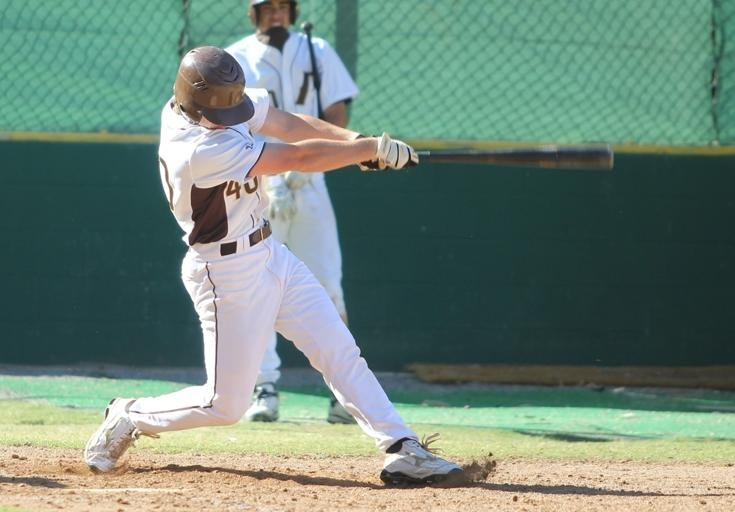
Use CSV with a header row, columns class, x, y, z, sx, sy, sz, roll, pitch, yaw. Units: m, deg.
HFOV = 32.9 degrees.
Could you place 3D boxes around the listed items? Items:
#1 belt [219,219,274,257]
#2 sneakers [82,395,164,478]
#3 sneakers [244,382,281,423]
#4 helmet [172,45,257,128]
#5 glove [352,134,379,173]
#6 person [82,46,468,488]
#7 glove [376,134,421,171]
class,x,y,z,sx,sy,sz,roll,pitch,yaw
belt,-0.583,-0.088,5.959,0.254,0.162,0.088,-4,8,-43
sneakers,-1.237,0.881,6.174,0.218,0.509,0.203,32,-10,39
sneakers,-0.568,0.825,7.048,0.244,0.236,0.148,-3,-7,33
helmet,-0.721,-0.825,5.903,0.344,0.287,0.460,-23,47,-35
glove,0.022,-0.497,6.083,0.168,0.173,0.204,-4,15,1
person,-0.534,0.044,5.957,1.600,2.072,0.551,0,6,-13
glove,0.128,-0.495,5.910,0.215,0.129,0.096,5,-25,-24
